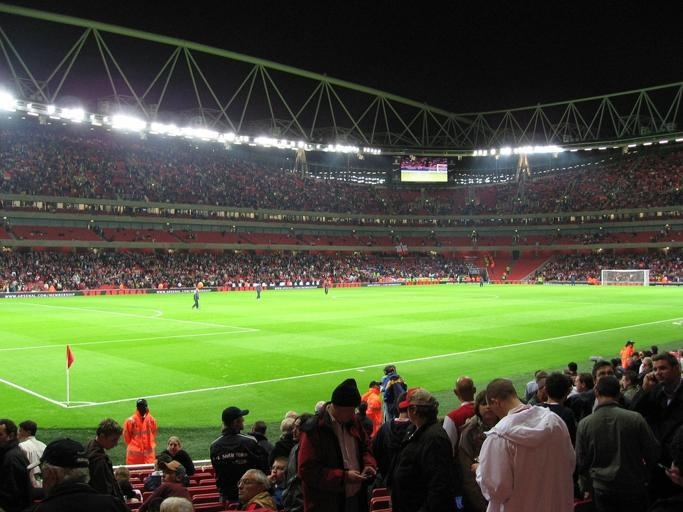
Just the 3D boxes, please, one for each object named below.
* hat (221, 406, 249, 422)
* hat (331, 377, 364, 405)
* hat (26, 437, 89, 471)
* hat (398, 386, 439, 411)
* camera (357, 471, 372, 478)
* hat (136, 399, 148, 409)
[{"bbox_3d":[-1.772,2.711,11.440,0.520,0.239,0.314,-5,6,-33],"label":"hat"},{"bbox_3d":[0.075,1.848,9.078,0.386,0.345,0.377,7,-7,-28],"label":"hat"},{"bbox_3d":[-3.473,2.457,8.229,0.529,0.280,0.358,7,-12,1],"label":"hat"},{"bbox_3d":[1.068,2.006,9.332,0.493,0.258,0.360,-6,-13,25],"label":"hat"},{"bbox_3d":[0.306,2.981,9.059,0.120,0.039,0.086,0,-3,30],"label":"camera"},{"bbox_3d":[-4.358,3.234,14.520,0.191,0.215,0.386,4,-7,-22],"label":"hat"}]
